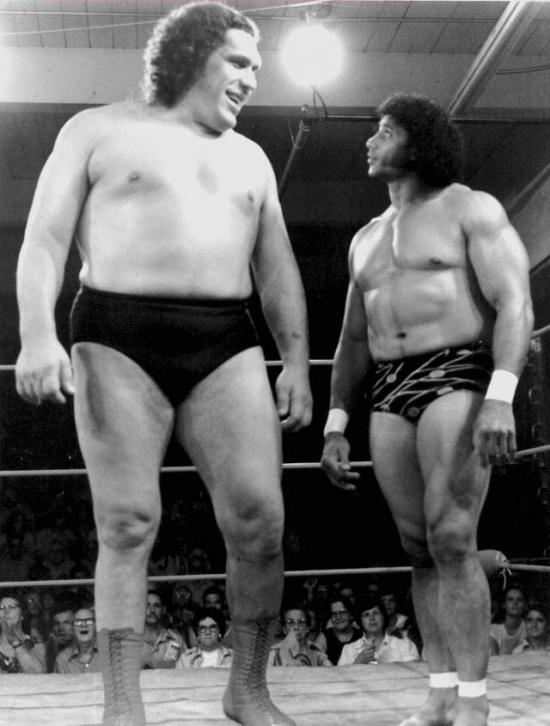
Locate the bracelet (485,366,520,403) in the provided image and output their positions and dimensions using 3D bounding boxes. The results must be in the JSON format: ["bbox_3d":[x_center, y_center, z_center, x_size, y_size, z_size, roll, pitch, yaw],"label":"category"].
[{"bbox_3d":[0.493,0.049,2.724,0.082,0.080,0.078,13,-19,14],"label":"bracelet"}]

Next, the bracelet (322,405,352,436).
[{"bbox_3d":[0.152,0.156,3.087,0.071,0.092,0.071,3,-26,13],"label":"bracelet"}]

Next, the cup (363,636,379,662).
[{"bbox_3d":[0.399,1.154,4.990,0.056,0.118,0.061,0,7,0],"label":"cup"}]
